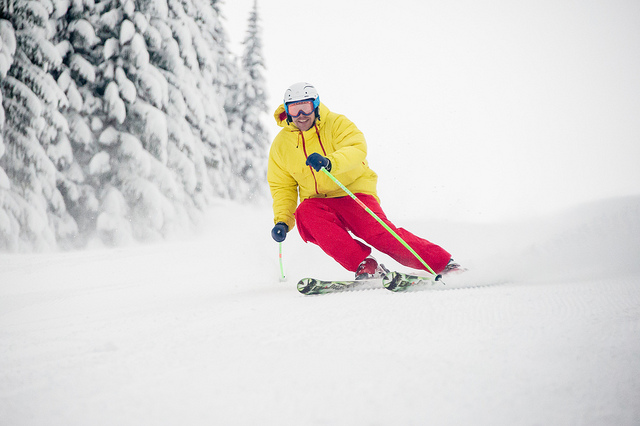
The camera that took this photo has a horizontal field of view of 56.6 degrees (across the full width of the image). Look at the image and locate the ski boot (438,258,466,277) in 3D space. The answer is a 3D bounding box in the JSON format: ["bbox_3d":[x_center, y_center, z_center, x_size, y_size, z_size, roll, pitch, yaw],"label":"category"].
[{"bbox_3d":[1.804,0.747,8.142,0.424,0.210,0.154,-15,-6,19],"label":"ski boot"}]

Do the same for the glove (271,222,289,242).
[{"bbox_3d":[-0.551,0.261,8.381,0.198,0.301,0.254,-6,-12,7],"label":"glove"}]

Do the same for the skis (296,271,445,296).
[{"bbox_3d":[0.722,0.949,7.889,1.917,0.316,0.168,-3,-9,23],"label":"skis"}]

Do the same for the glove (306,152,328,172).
[{"bbox_3d":[-0.040,-0.667,7.913,0.287,0.245,0.106,-5,-11,1],"label":"glove"}]

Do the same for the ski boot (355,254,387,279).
[{"bbox_3d":[0.700,0.756,8.196,0.287,0.223,0.371,-28,-3,31],"label":"ski boot"}]
